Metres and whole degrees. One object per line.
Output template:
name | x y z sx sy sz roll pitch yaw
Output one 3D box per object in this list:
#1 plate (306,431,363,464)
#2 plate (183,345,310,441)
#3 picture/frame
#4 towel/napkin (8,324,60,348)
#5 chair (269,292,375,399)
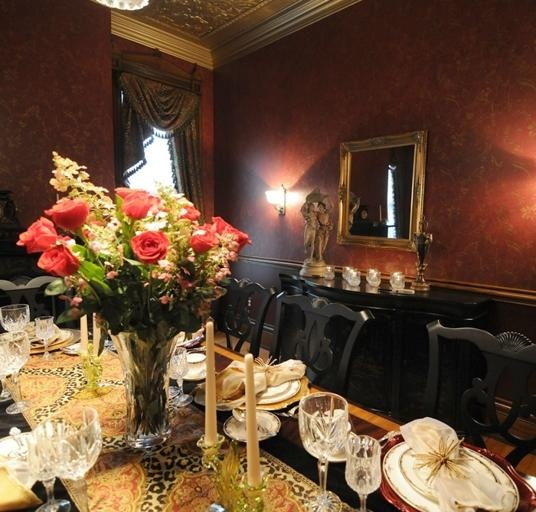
plate | 0.185 0.474 1.152 0.122 0.029 0.121 -2 -1 -6
plate | -0.070 0.429 1.403 0.286 0.067 0.286 -1 10 13
picture/frame | 0.923 -0.522 3.497 0.083 1.063 0.942 -8 12 -42
towel/napkin | -0.936 0.312 1.778 0.147 0.036 0.156 3 3 -3
chair | 0.254 0.449 2.206 0.401 0.653 0.399 12 20 18
